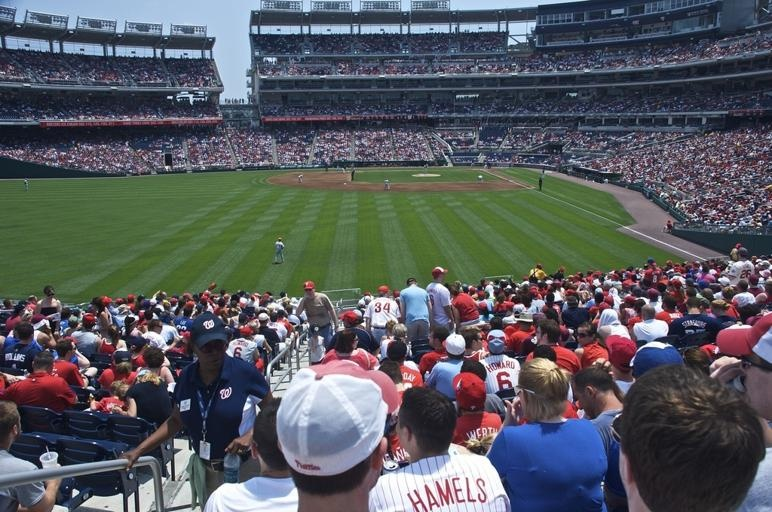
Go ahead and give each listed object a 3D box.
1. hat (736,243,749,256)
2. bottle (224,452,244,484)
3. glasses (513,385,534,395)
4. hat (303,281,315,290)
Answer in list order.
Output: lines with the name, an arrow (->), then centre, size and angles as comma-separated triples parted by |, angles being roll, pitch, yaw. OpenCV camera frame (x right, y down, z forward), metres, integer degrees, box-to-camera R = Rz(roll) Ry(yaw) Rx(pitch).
hat -> 14.599, -0.230, 24.690 | 0.539, 0.585, 0.692 | -4, -8, 22
bottle -> -2.185, 3.021, 8.459 | 0.227, 0.479, 0.233 | -1, 10, 0
glasses -> 1.827, 1.828, 8.082 | 0.260, 0.078, 0.280 | 9, -3, -13
hat -> -2.074, 0.803, 15.661 | 0.412, 0.226, 0.513 | -1, -2, 3
